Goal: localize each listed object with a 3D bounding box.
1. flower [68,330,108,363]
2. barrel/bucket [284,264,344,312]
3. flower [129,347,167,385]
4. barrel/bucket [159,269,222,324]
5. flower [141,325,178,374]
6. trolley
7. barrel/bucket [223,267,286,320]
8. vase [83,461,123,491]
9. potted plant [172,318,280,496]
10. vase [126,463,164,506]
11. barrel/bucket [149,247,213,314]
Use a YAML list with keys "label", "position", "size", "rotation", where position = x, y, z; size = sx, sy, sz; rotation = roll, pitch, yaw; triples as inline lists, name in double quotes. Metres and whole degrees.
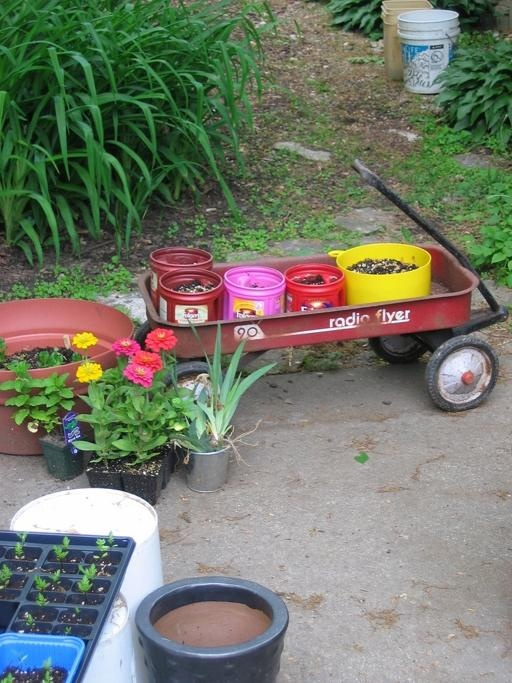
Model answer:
- label: "flower"
  position: [-0.769, 0.028, 3.232]
  size: [0.107, 0.110, 0.101]
  rotation: [-23, 58, -27]
- label: "barrel/bucket"
  position: [0.312, -0.225, 3.546]
  size: [0.316, 0.270, 0.280]
  rotation: [4, 27, 12]
- label: "flower"
  position: [-0.420, 0.114, 2.703]
  size: [0.154, 0.066, 0.132]
  rotation: [-18, 44, -15]
- label: "barrel/bucket"
  position: [-0.337, -0.214, 3.286]
  size: [0.236, 0.238, 0.205]
  rotation: [27, 58, -27]
- label: "flower"
  position: [-0.433, 0.014, 2.882]
  size: [0.164, 0.172, 0.156]
  rotation: [-20, 54, -21]
- label: "trolley"
  position: [0.522, -0.342, 3.724]
  size: [2.146, 1.129, 1.071]
  rotation: [-4, 28, -10]
- label: "barrel/bucket"
  position: [-0.015, -0.201, 3.494]
  size: [0.356, 0.312, 0.312]
  rotation: [1, 20, 1]
- label: "vase"
  position: [-0.603, 0.540, 2.867]
  size: [0.176, 0.136, 0.114]
  rotation: [1, 13, -1]
- label: "potted plant"
  position: [-0.154, 0.358, 3.009]
  size: [0.571, 0.598, 0.366]
  rotation: [-9, -8, 12]
- label: "vase"
  position: [-0.430, 0.570, 2.893]
  size: [0.204, 0.161, 0.177]
  rotation: [0, 8, -6]
- label: "barrel/bucket"
  position: [-0.411, -0.334, 3.591]
  size: [0.385, 0.342, 0.344]
  rotation: [-9, 24, -24]
